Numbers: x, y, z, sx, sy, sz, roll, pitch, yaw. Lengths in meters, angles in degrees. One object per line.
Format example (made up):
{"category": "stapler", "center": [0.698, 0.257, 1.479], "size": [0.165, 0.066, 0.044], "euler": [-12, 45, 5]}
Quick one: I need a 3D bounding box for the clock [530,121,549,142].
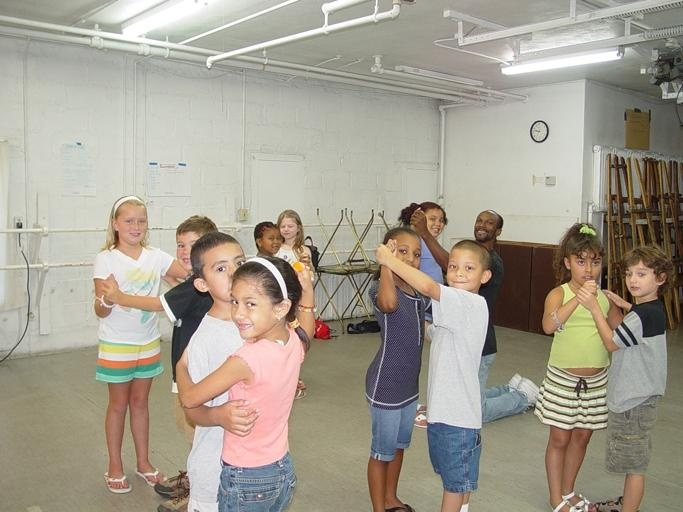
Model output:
{"category": "clock", "center": [3.261, -2.040, 8.213], "size": [0.040, 0.391, 0.373], "euler": [5, -1, -33]}

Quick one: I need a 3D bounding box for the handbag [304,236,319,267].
{"category": "handbag", "center": [-0.518, -0.059, 7.520], "size": [0.332, 0.484, 0.487], "euler": [0, 2, -8]}

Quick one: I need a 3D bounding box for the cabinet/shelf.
{"category": "cabinet/shelf", "center": [3.050, 0.559, 7.711], "size": [0.434, 1.327, 1.328], "euler": [-1, 5, -18]}

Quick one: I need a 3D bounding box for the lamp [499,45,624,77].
{"category": "lamp", "center": [2.618, -2.348, 6.016], "size": [1.362, 0.138, 0.263], "euler": [4, 9, 34]}

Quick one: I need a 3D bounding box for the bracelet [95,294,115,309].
{"category": "bracelet", "center": [-1.451, 0.291, 3.059], "size": [0.108, 0.044, 0.131], "euler": [19, -12, 11]}

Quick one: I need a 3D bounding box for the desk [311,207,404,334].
{"category": "desk", "center": [0.076, 0.225, 6.550], "size": [0.672, 1.977, 1.851], "euler": [2, 5, 31]}

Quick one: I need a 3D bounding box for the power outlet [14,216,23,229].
{"category": "power outlet", "center": [-3.862, -0.401, 5.956], "size": [0.098, 0.136, 0.059], "euler": [-8, 11, -44]}

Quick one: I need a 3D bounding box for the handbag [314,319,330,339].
{"category": "handbag", "center": [-0.278, 1.093, 7.344], "size": [0.223, 0.196, 0.367], "euler": [-1, 7, -1]}

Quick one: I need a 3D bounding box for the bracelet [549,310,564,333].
{"category": "bracelet", "center": [1.347, 0.417, 3.159], "size": [0.053, 0.116, 0.083], "euler": [-13, -4, 18]}
